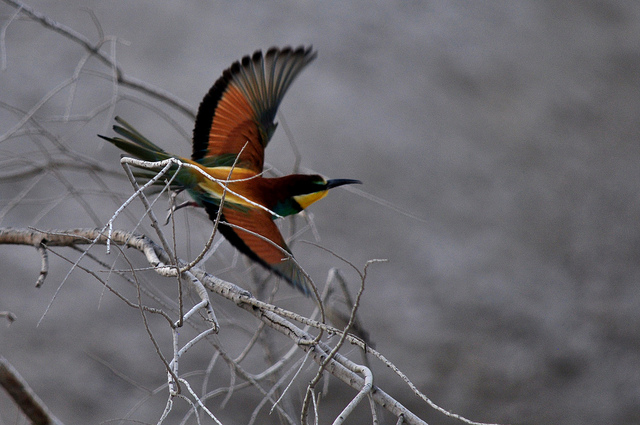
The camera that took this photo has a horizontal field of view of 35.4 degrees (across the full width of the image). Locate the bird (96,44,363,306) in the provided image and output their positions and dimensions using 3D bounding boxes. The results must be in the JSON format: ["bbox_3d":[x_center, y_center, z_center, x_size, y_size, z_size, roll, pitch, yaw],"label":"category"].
[{"bbox_3d":[-0.435,-0.241,4.435,0.965,0.812,1.268,35,-33,18],"label":"bird"}]
